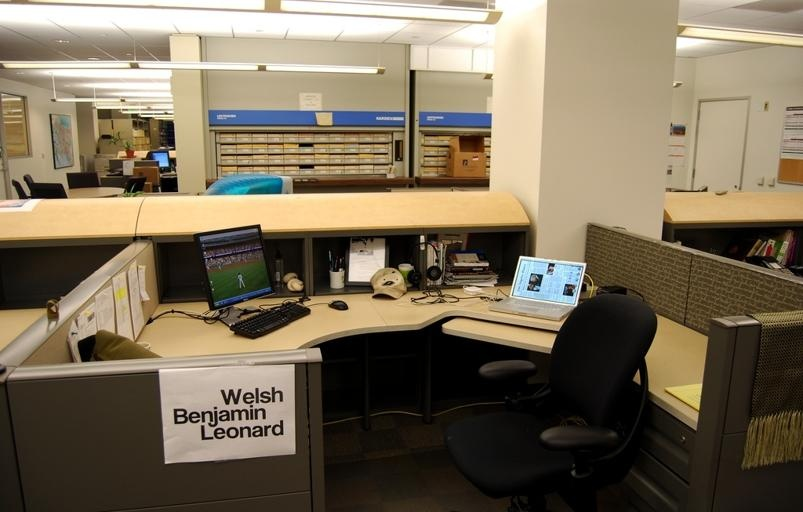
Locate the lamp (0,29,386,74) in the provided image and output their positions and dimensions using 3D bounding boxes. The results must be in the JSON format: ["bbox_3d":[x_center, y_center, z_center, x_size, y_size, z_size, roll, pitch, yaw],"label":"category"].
[{"bbox_3d":[-2.514,-2.529,6.758,4.162,0.508,2.168,0,15,4],"label":"lamp"}]

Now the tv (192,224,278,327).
[{"bbox_3d":[-1.103,0.131,3.606,0.575,0.648,0.358,-13,21,-42],"label":"tv"}]

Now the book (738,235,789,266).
[{"bbox_3d":[3.044,-0.068,4.506,0.300,0.098,0.296,-15,3,-32],"label":"book"}]

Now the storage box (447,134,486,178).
[{"bbox_3d":[0.904,-1.424,7.895,0.658,0.618,0.604,0,5,-3],"label":"storage box"}]

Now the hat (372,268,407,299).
[{"bbox_3d":[-0.088,0.198,4.005,0.195,0.119,0.238,5,27,10],"label":"hat"}]

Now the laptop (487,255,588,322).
[{"bbox_3d":[0.969,0.201,3.701,0.515,0.285,0.479,6,13,33],"label":"laptop"}]

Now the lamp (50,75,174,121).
[{"bbox_3d":[-6.807,-3.700,12.674,2.412,0.494,2.150,1,15,-1],"label":"lamp"}]

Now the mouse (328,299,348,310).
[{"bbox_3d":[-0.441,0.336,3.785,0.064,0.036,0.118,-5,7,-37],"label":"mouse"}]

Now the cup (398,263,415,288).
[{"bbox_3d":[0.042,0.144,4.120,0.158,0.163,0.153,-1,10,0],"label":"cup"}]

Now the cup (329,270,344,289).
[{"bbox_3d":[-0.479,0.181,4.087,0.142,0.115,0.104,-1,3,-32],"label":"cup"}]

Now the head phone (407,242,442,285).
[{"bbox_3d":[0.187,0.061,4.127,0.361,0.410,0.183,1,0,-6],"label":"head phone"}]

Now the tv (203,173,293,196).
[{"bbox_3d":[-1.261,-0.586,4.466,0.650,0.149,0.351,2,15,11],"label":"tv"}]
